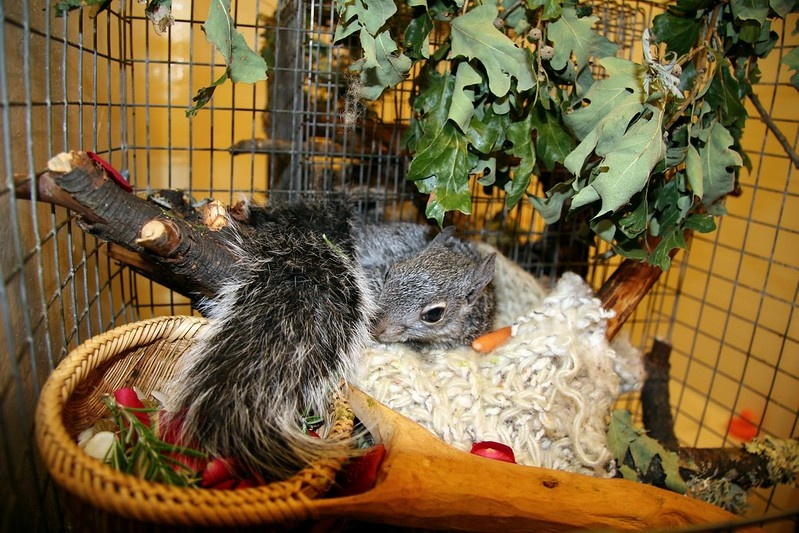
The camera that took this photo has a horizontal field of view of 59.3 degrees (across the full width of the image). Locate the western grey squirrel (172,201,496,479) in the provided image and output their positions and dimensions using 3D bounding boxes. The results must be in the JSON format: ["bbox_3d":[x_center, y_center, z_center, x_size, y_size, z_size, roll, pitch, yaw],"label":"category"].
[{"bbox_3d":[-0.557,0.376,3.169,0.774,0.652,0.903,9,34,11],"label":"western grey squirrel"}]
